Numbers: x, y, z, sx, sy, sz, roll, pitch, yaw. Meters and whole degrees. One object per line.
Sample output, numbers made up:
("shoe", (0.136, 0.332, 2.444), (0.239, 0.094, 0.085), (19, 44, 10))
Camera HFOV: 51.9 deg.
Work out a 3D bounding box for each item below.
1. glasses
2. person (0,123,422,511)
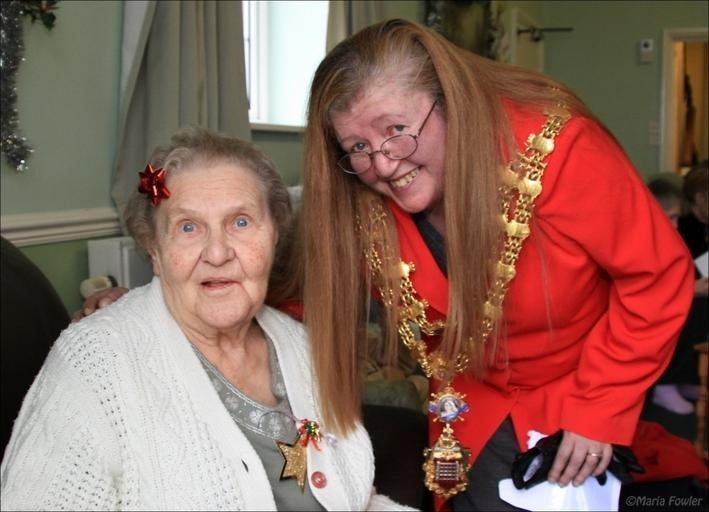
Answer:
("glasses", (0.090, -0.288, 1.912), (0.206, 0.063, 0.212), (-19, 21, 49))
("person", (-0.375, 0.172, 1.928), (1.239, 1.017, 0.646), (-2, 1, -45))
